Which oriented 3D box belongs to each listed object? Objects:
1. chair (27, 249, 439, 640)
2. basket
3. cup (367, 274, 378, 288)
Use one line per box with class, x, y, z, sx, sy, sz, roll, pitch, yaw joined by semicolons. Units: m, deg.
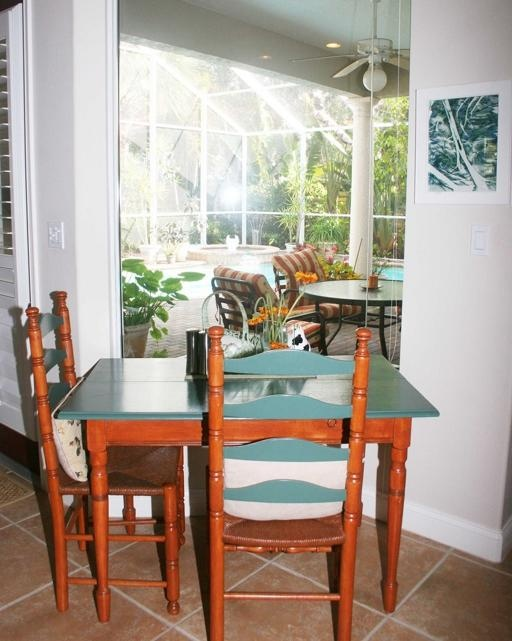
chair;-0.080;0.398;1.818;1.332;1.002;0.933;0;10;1
basket;-0.108;0.037;1.991;0.154;0.289;0.193;-12;0;-1
cup;0.455;-0.155;2.146;0.047;0.050;0.046;0;3;0
